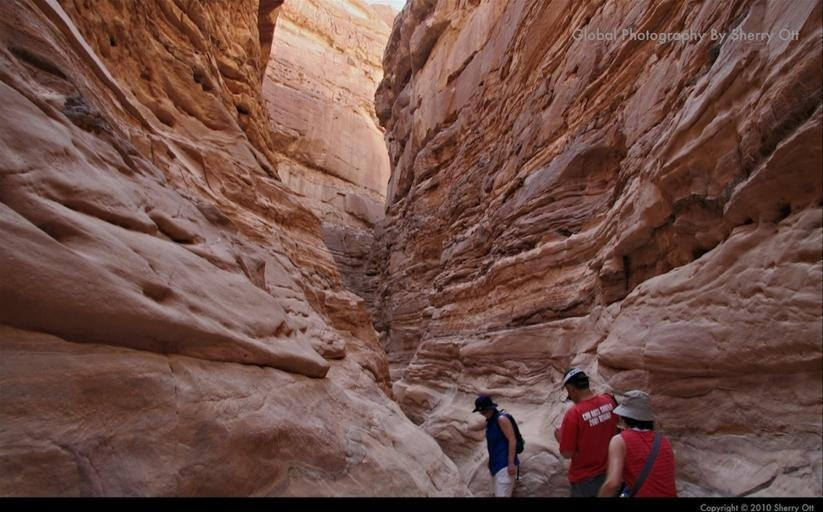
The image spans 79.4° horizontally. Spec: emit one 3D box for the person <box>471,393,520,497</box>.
[{"bbox_3d":[1.142,2.450,6.501,0.511,1.201,0.328,-13,-24,34],"label":"person"}]

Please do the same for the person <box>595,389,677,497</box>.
[{"bbox_3d":[2.109,1.773,4.769,0.686,0.946,0.248,-4,-20,12],"label":"person"}]

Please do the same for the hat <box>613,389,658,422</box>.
[{"bbox_3d":[2.208,1.517,4.919,0.353,0.206,0.383,4,-23,9],"label":"hat"}]
